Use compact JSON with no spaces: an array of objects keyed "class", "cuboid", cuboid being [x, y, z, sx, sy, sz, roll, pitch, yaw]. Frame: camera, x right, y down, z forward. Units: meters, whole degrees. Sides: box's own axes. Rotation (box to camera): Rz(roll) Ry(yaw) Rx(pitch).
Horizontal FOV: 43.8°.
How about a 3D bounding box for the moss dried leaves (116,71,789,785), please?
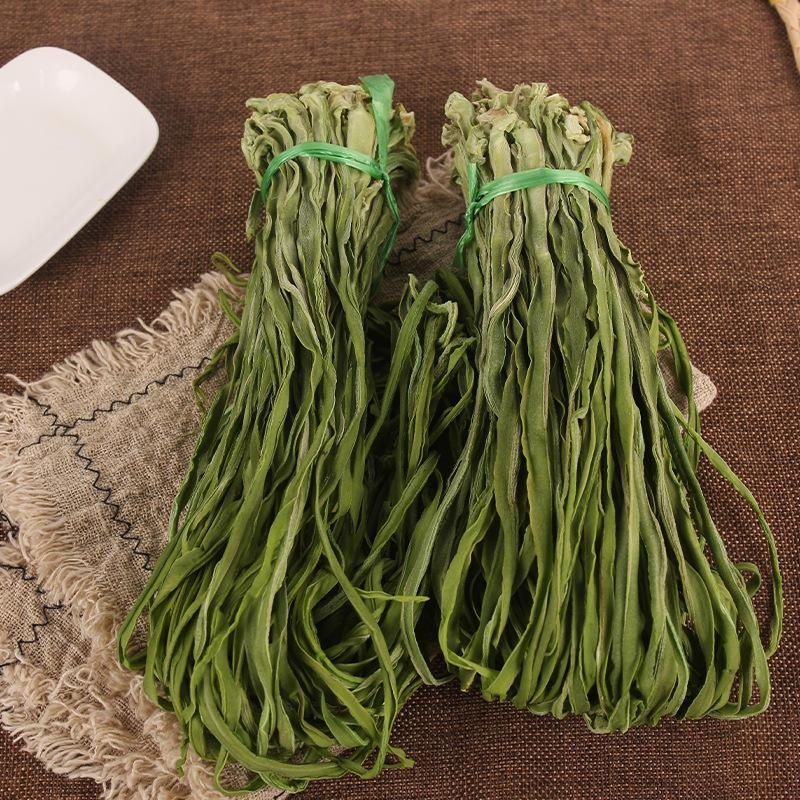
[{"class":"moss dried leaves","cuboid":[0.005,0.033,0.972,0.638,0.323,0.681,-17,59,-8]}]
